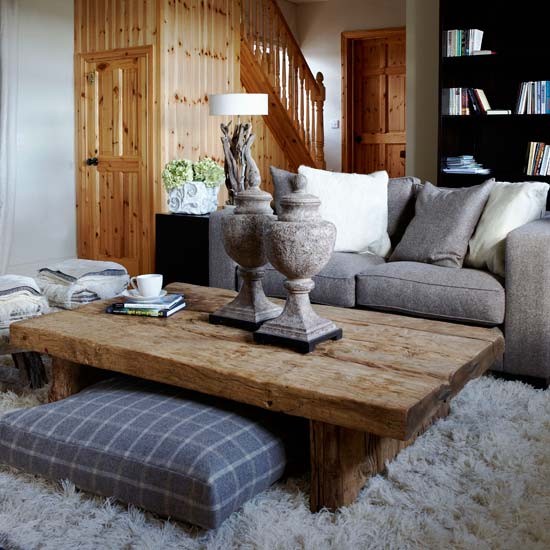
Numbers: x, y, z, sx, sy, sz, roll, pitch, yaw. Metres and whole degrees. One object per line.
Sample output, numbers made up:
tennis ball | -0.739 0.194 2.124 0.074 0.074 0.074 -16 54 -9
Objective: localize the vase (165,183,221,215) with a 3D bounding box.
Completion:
vase | -0.608 -0.573 3.837 0.373 0.239 0.161 -1 7 -9

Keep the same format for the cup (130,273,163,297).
cup | -0.482 0.036 1.934 0.104 0.080 0.088 -2 2 9

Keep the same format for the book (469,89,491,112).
book | 1.809 -1.541 4.563 0.202 0.218 0.048 -4 -14 -43

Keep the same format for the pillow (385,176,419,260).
pillow | 0.862 -0.368 3.233 0.172 0.406 0.373 5 -4 -21

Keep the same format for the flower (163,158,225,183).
flower | -0.590 -0.720 3.779 0.303 0.175 0.235 -2 8 4

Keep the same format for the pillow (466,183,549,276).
pillow | 1.168 -0.254 2.670 0.473 0.453 0.253 -6 10 -42

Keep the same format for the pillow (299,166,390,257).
pillow | 0.365 -0.312 2.596 0.513 0.562 0.200 2 -8 -8

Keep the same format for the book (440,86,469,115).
book | 1.611 -1.515 4.645 0.284 0.299 0.219 3 10 29

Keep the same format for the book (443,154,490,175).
book | 1.700 -0.973 4.622 0.292 0.104 0.227 3 3 25

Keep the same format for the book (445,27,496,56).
book | 1.695 -2.033 4.508 0.277 0.212 0.156 3 10 24
